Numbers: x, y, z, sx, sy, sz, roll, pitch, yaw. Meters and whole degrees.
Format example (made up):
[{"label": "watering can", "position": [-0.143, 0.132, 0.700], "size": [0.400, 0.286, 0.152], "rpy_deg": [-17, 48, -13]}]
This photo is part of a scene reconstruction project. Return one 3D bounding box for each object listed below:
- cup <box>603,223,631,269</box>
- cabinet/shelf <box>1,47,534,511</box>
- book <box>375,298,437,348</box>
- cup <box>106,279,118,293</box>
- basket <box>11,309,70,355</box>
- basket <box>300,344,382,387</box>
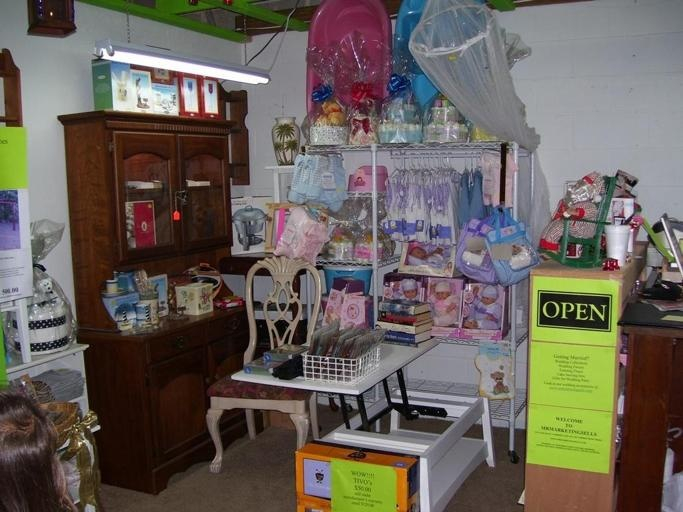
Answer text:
[{"label": "cup", "position": [1.370, -0.049, 2.738], "size": [0.109, 0.203, 0.248], "rpy_deg": [3, 10, 29]}, {"label": "cabinet/shelf", "position": [-0.283, -0.149, 4.180], "size": [3.487, 3.084, 2.375], "rpy_deg": [-2, 9, -4]}, {"label": "book", "position": [0.394, 0.391, 3.513], "size": [0.329, 0.240, 0.261], "rpy_deg": [2, 7, 33]}, {"label": "cup", "position": [-1.479, 0.197, 3.527], "size": [0.076, 0.085, 0.075], "rpy_deg": [2, 8, 0]}, {"label": "basket", "position": [-1.713, 0.448, 3.144], "size": [0.234, 0.187, 0.242], "rpy_deg": [0, 6, 11]}, {"label": "basket", "position": [0.004, 0.570, 2.888], "size": [0.415, 0.150, 0.207], "rpy_deg": [-2, 9, -5]}]
